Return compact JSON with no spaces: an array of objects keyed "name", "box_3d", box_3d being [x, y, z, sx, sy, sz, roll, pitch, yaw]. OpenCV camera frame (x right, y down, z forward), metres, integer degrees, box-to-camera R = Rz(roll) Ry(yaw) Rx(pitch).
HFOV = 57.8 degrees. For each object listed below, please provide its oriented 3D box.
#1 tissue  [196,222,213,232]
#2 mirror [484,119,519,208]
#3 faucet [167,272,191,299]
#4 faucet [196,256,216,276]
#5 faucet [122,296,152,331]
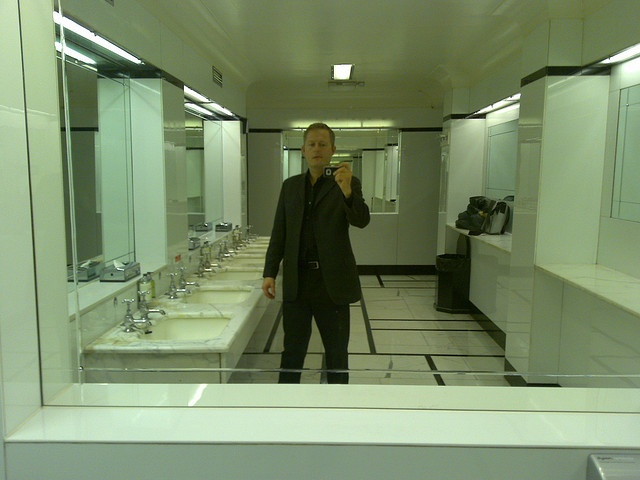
[{"name":"tissue ","box_3d":[-0.653,-0.069,3.241,0.089,0.049,0.083,1,3,12]},{"name":"mirror","box_3d":[0.782,-0.340,2.518,0.018,0.393,0.430,1,5,31]},{"name":"faucet","box_3d":[-0.635,0.206,2.562,0.132,0.101,0.081,0,6,10]},{"name":"faucet","box_3d":[-0.538,0.135,2.640,0.107,0.102,0.053,0,6,6]},{"name":"faucet","box_3d":[-0.699,0.301,2.270,0.154,0.130,0.074,2,1,-23]}]
